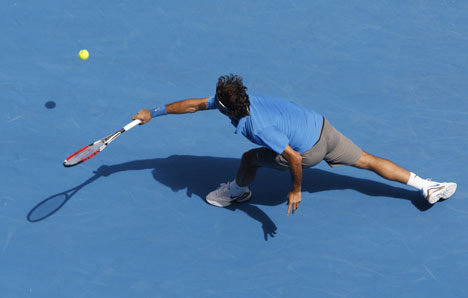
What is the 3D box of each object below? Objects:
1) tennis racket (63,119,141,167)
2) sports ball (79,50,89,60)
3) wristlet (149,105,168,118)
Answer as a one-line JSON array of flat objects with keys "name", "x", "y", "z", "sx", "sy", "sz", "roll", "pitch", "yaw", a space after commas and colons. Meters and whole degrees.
[{"name": "tennis racket", "x": -2.392, "y": -0.078, "z": 11.449, "sx": 1.332, "sy": 0.595, "sz": 0.237, "roll": -39, "pitch": 82, "yaw": -7}, {"name": "sports ball", "x": -3.136, "y": -1.947, "z": 13.547, "sx": 0.187, "sy": 0.244, "sz": 0.191, "roll": 0, "pitch": 80, "yaw": 1}, {"name": "wristlet", "x": -1.359, "y": -0.669, "z": 11.704, "sx": 0.281, "sy": 0.108, "sz": 0.173, "roll": -19, "pitch": 58, "yaw": 3}]
